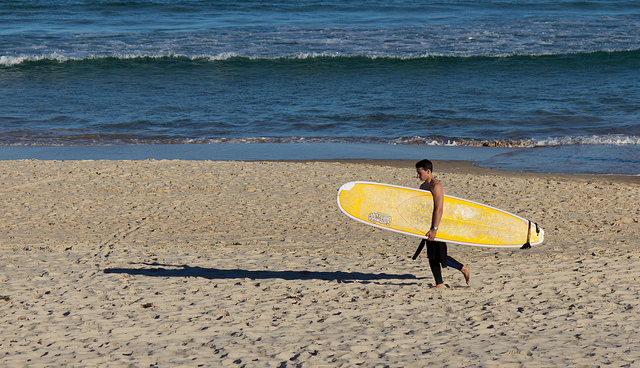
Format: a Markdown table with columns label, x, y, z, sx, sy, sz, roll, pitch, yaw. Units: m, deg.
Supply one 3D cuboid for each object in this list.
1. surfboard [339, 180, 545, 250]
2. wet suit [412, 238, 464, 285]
| label | x | y | z | sx | sy | sz | roll | pitch | yaw |
| --- | --- | --- | --- | --- | --- | --- | --- | --- | --- |
| surfboard | 4.580 | 1.215 | 40.808 | 1.653 | 1.857 | 11.771 | -4 | 8 | -34 |
| wet suit | 4.228 | 2.918 | 40.331 | 1.079 | 1.774 | 1.761 | 20 | 47 | -53 |
